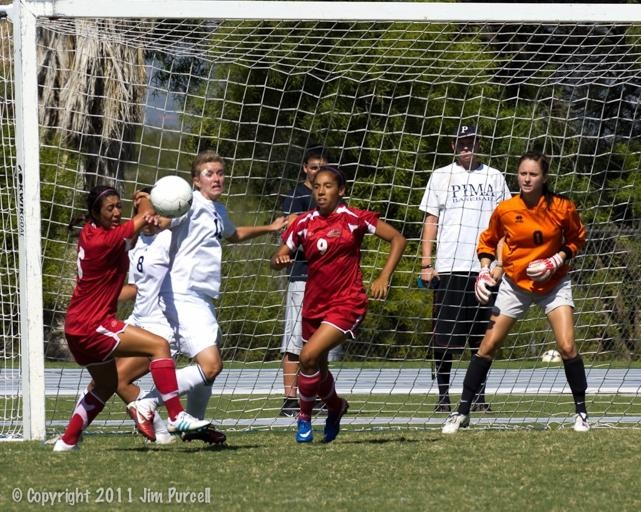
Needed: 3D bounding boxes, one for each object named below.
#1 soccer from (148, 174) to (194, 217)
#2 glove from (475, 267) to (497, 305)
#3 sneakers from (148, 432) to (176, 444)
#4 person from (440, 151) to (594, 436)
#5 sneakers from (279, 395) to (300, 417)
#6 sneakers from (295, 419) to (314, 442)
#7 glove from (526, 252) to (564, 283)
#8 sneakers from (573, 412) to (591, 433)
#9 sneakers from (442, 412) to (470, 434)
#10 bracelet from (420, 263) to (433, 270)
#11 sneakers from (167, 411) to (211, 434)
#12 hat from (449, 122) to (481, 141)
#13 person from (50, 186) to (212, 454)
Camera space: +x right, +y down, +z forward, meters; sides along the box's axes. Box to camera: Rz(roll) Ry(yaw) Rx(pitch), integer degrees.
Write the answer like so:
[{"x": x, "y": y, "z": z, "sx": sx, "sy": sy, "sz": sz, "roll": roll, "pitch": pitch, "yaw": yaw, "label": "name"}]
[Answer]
[{"x": -1.152, "y": -0.435, "z": 8.070, "sx": 0.302, "sy": 0.304, "sz": 0.328, "roll": -18, "pitch": -6, "yaw": -11, "label": "soccer"}, {"x": 1.380, "y": 0.234, "z": 8.663, "sx": 0.166, "sy": 0.294, "sz": 0.297, "roll": 2, "pitch": 0, "yaw": 9, "label": "glove"}, {"x": -1.293, "y": 1.484, "z": 8.554, "sx": 0.144, "sy": 0.061, "sz": 0.109, "roll": -4, "pitch": -6, "yaw": 26, "label": "sneakers"}, {"x": 1.693, "y": 0.310, "z": 8.641, "sx": 1.083, "sy": 2.344, "sz": 0.409, "roll": 2, "pitch": 0, "yaw": 14, "label": "person"}, {"x": -0.286, "y": 1.402, "z": 9.709, "sx": 0.124, "sy": 0.237, "sz": 0.245, "roll": -1, "pitch": -11, "yaw": 16, "label": "sneakers"}, {"x": -0.137, "y": 1.394, "z": 8.322, "sx": 0.178, "sy": 0.215, "sz": 0.492, "roll": 0, "pitch": -8, "yaw": -2, "label": "sneakers"}, {"x": 1.857, "y": 0.073, "z": 8.528, "sx": 0.274, "sy": 0.128, "sz": 0.196, "roll": -35, "pitch": 33, "yaw": -5, "label": "glove"}, {"x": 2.195, "y": 1.393, "z": 8.738, "sx": 0.141, "sy": 0.180, "sz": 0.423, "roll": -2, "pitch": -11, "yaw": 9, "label": "sneakers"}, {"x": 1.131, "y": 1.404, "z": 8.822, "sx": 0.304, "sy": 0.130, "sz": 0.109, "roll": -14, "pitch": 9, "yaw": -40, "label": "sneakers"}, {"x": 0.999, "y": 0.090, "z": 9.842, "sx": 0.123, "sy": 0.048, "sz": 0.099, "roll": 1, "pitch": 0, "yaw": 24, "label": "bracelet"}, {"x": -1.007, "y": 1.249, "z": 7.872, "sx": 0.353, "sy": 0.174, "sz": 0.131, "roll": -3, "pitch": 8, "yaw": 7, "label": "sneakers"}, {"x": 1.369, "y": -1.179, "z": 9.731, "sx": 0.223, "sy": 0.148, "sz": 0.346, "roll": 2, "pitch": 0, "yaw": 8, "label": "hat"}, {"x": -1.563, "y": 0.474, "z": 8.041, "sx": 1.049, "sy": 2.051, "sz": 0.374, "roll": 2, "pitch": 0, "yaw": 8, "label": "person"}]
